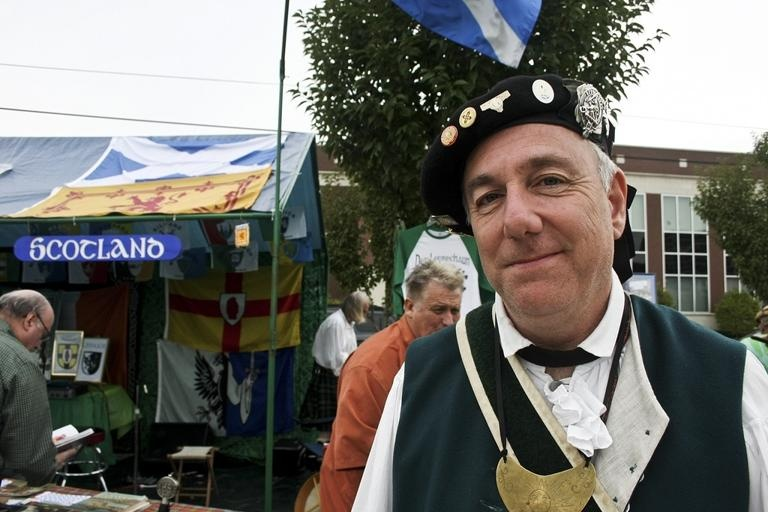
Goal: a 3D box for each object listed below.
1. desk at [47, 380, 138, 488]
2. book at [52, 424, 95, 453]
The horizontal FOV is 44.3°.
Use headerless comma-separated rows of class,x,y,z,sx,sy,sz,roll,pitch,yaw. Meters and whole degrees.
desk,-4.299,2.619,13.881,1.250,1.811,1.480,0,-11,-4
book,-3.498,2.075,10.585,0.270,0.140,0.375,-5,13,41
